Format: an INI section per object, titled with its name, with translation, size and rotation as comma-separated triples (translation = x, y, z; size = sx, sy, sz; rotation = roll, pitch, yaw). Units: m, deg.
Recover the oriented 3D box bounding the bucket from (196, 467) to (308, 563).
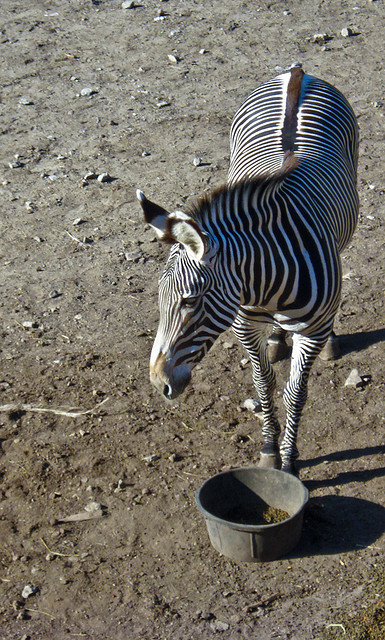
[bucket]
translation = 0.301, 0.957, 3.354
size = 0.517, 0.374, 0.445
rotation = 5, 33, 17
